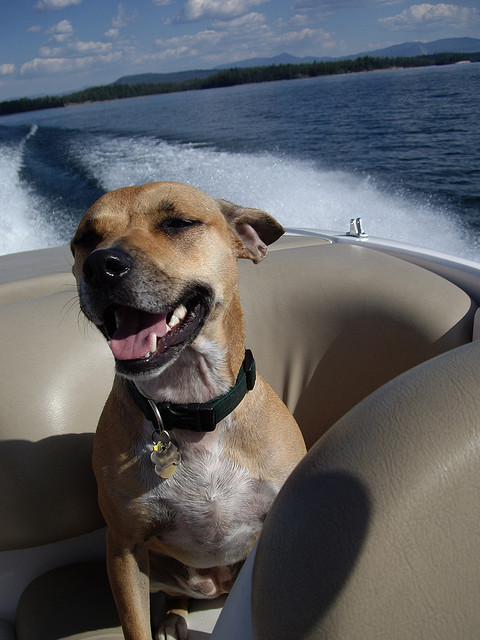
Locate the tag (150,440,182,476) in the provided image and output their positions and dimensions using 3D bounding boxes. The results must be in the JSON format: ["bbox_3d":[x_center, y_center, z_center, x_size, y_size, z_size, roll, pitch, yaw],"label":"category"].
[{"bbox_3d":[-0.197,0.380,1.431,0.095,0.055,0.089,15,51,16],"label":"tag"}]

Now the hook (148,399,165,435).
[{"bbox_3d":[-0.223,0.263,1.367,0.018,0.079,0.084,-14,34,5],"label":"hook"}]
